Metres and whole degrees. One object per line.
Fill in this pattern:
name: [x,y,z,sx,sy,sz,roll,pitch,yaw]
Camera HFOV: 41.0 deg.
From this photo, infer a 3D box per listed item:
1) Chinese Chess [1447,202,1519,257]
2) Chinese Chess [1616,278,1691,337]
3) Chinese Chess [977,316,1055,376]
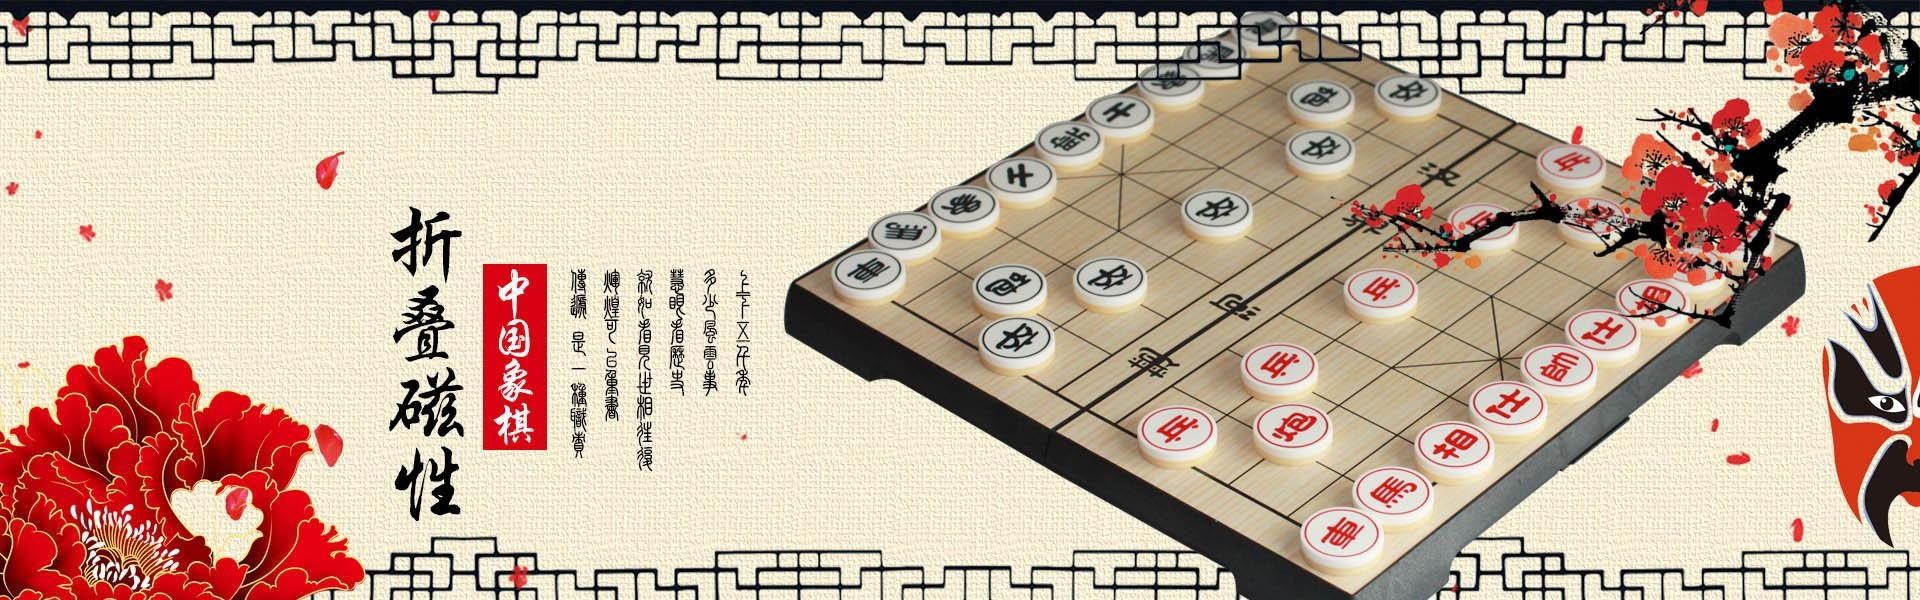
Chinese Chess: [3.934,-0.564,19.376,0.563,0.381,0.132,13,-34,3]
Chinese Chess: [5.137,0.037,19.088,0.481,0.500,0.094,34,-37,35]
Chinese Chess: [0.429,0.334,18.984,0.541,0.426,0.094,0,-10,-2]
